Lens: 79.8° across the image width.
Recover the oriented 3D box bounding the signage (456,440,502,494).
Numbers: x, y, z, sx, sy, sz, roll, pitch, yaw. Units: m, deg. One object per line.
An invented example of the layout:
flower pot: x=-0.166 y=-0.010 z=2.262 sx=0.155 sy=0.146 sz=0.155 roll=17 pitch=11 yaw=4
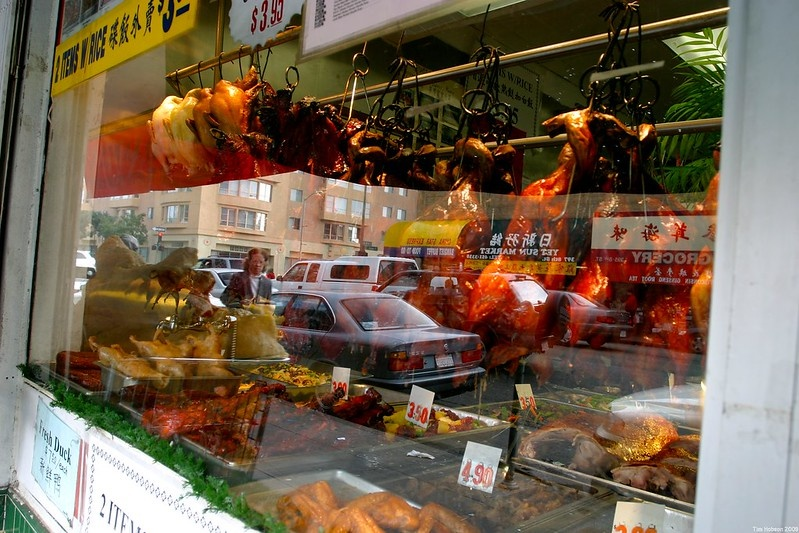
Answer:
signage: x=0.276 y=0.706 z=1.662 sx=0.133 sy=0.142 sz=0.007 roll=8 pitch=-38 yaw=25

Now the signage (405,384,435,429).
signage: x=0.091 y=0.632 z=2.128 sx=0.009 sy=0.159 sz=0.148 roll=13 pitch=0 yaw=-41
